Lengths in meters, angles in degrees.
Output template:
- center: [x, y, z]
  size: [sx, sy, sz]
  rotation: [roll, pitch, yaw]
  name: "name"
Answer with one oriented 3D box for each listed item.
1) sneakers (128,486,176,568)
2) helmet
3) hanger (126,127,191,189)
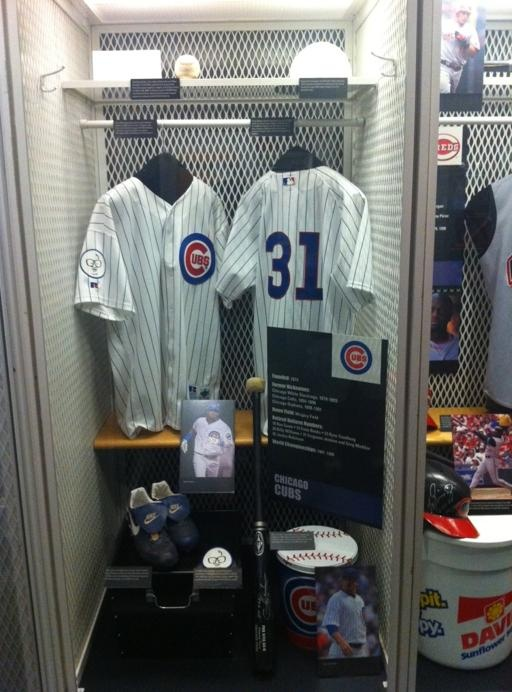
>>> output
- center: [-0.330, 0.579, 1.796]
  size: [0.090, 0.141, 0.297]
  rotation: [-4, 30, -26]
  name: "sneakers"
- center: [0.515, 0.413, 1.566]
  size: [0.106, 0.103, 0.170]
  rotation: [10, 21, -45]
  name: "helmet"
- center: [-0.316, -0.552, 1.776]
  size: [0.006, 0.201, 0.150]
  rotation: [-16, -6, 35]
  name: "hanger"
